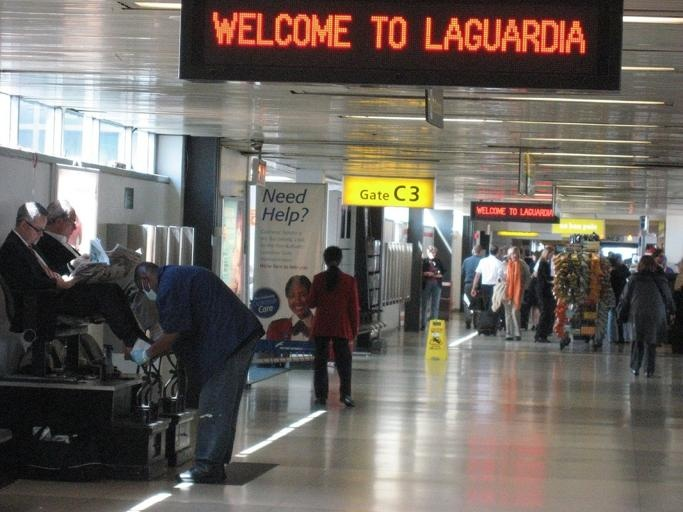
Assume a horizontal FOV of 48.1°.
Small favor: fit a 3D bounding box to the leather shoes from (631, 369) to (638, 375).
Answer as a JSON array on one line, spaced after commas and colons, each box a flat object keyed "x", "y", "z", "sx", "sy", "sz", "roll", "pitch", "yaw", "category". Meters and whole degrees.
[{"x": 4.861, "y": 1.915, "z": 12.698, "sx": 0.101, "sy": 0.139, "sz": 0.140, "roll": 1, "pitch": -1, "yaw": 12, "category": "leather shoes"}]

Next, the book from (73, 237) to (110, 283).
[{"x": -2.158, "y": 0.048, "z": 6.828, "sx": 0.328, "sy": 0.426, "sz": 0.165, "roll": -13, "pitch": -43, "yaw": 36, "category": "book"}]

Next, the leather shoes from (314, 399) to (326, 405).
[{"x": -0.278, "y": 1.823, "z": 9.650, "sx": 0.147, "sy": 0.079, "sz": 0.149, "roll": 0, "pitch": 1, "yaw": 2, "category": "leather shoes"}]

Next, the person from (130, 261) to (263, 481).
[{"x": -1.182, "y": 0.976, "z": 6.438, "sx": 1.033, "sy": 1.854, "sz": 0.365, "roll": 0, "pitch": 0, "yaw": -7, "category": "person"}]

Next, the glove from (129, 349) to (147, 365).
[{"x": -1.690, "y": 0.840, "z": 6.380, "sx": 0.147, "sy": 0.061, "sz": 0.116, "roll": -4, "pitch": 3, "yaw": 2, "category": "glove"}]

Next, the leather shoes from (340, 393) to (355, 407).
[{"x": 0.066, "y": 1.795, "z": 9.659, "sx": 0.185, "sy": 0.166, "sz": 0.280, "roll": 0, "pitch": 1, "yaw": 1, "category": "leather shoes"}]

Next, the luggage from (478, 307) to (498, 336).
[{"x": 3.554, "y": 1.622, "z": 18.771, "sx": 0.567, "sy": 1.066, "sz": 0.573, "roll": 0, "pitch": -1, "yaw": 8, "category": "luggage"}]

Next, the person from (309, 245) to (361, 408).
[{"x": -0.110, "y": 0.876, "z": 9.742, "sx": 0.613, "sy": 1.992, "sz": 0.427, "roll": 0, "pitch": 0, "yaw": -1, "category": "person"}]

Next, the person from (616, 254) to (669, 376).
[{"x": 4.960, "y": 0.976, "z": 12.511, "sx": 0.795, "sy": 1.986, "sz": 0.730, "roll": 0, "pitch": 1, "yaw": 21, "category": "person"}]

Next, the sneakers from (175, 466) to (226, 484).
[{"x": -1.177, "y": 1.842, "z": 6.448, "sx": 0.403, "sy": 0.178, "sz": 0.152, "roll": 3, "pitch": -4, "yaw": 6, "category": "sneakers"}]
